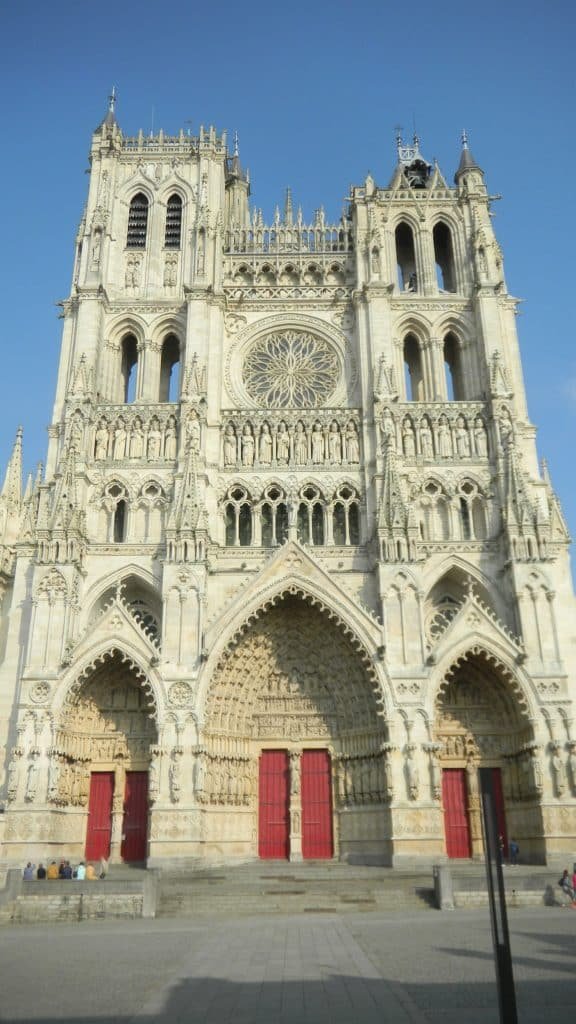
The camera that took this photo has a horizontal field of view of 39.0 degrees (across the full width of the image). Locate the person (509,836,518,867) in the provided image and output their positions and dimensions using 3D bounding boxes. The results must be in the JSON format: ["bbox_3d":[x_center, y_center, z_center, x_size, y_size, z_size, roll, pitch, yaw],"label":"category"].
[{"bbox_3d":[6.887,10.410,24.941,0.279,0.679,1.284,-6,-21,13],"label":"person"}]
